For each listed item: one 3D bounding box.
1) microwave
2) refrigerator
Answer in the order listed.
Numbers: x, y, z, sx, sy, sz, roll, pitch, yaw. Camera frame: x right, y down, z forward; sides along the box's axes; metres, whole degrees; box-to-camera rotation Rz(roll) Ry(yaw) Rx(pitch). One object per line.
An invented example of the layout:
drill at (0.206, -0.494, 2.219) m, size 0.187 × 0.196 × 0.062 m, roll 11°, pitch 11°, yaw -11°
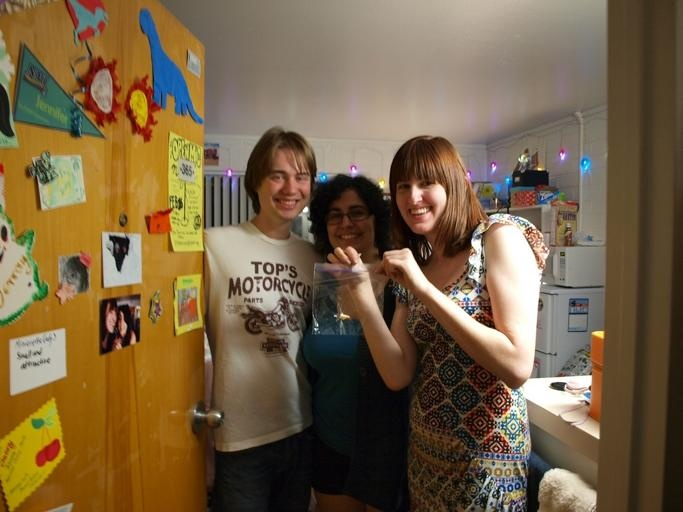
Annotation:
microwave at (1.820, 0.107, 3.978) m, size 0.255 × 0.276 × 0.387 m, roll 4°, pitch 1°, yaw 2°
refrigerator at (1.821, 0.708, 4.030) m, size 0.534 × 0.993 × 0.575 m, roll -3°, pitch 8°, yaw 10°
